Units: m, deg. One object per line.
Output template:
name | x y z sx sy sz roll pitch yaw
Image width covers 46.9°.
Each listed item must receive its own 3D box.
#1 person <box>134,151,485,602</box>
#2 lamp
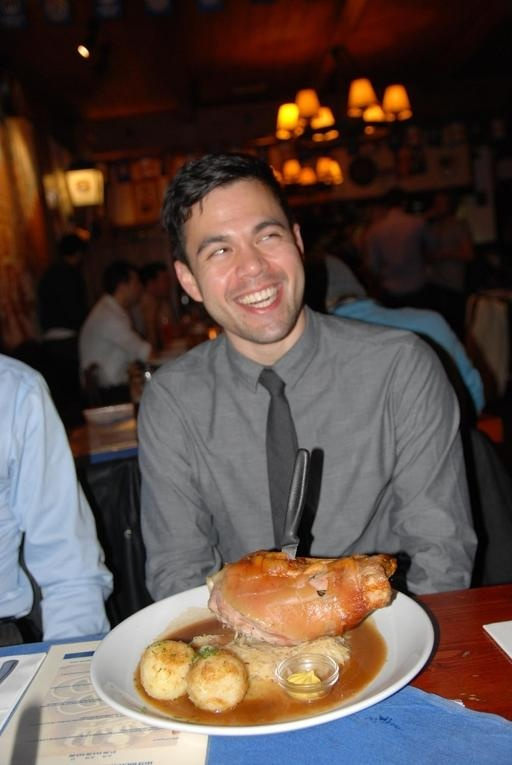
person | 0.060 -0.044 1.440 0.827 1.055 0.538 -5 7 17
lamp | 1.020 -3.603 7.336 1.703 0.625 1.674 -8 11 1
